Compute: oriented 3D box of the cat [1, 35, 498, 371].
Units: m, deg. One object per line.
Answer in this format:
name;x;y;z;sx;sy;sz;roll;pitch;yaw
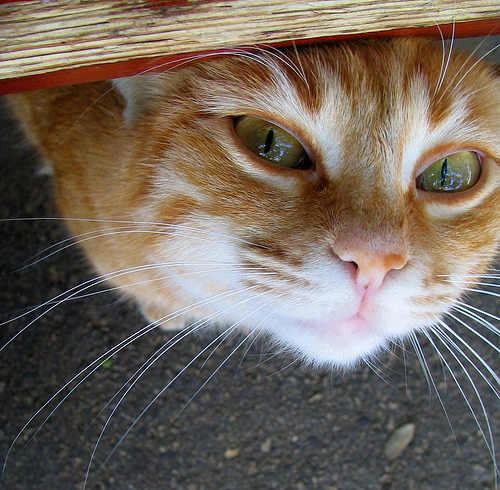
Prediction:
cat;0.040;-0.094;1.592;1.121;0.744;0.679;9;71;12
